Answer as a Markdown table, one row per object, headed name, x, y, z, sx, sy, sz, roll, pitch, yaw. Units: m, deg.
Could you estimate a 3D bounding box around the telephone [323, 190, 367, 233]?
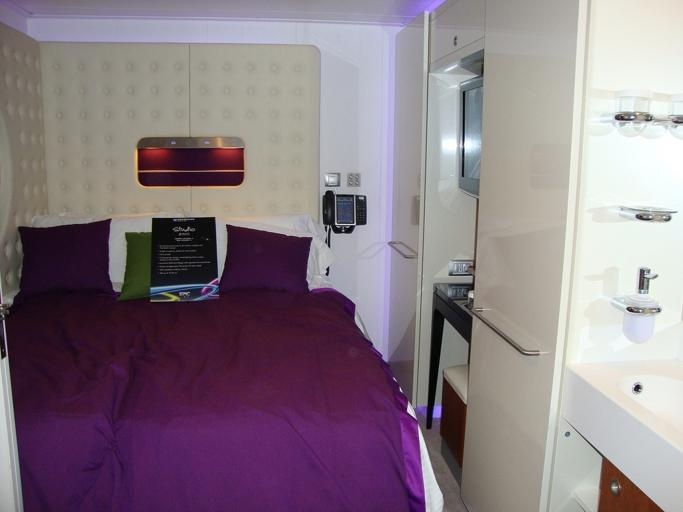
| name | x | y | z | sx | sy | sz | roll | pitch | yaw |
| --- | --- | --- | --- | --- | --- | --- | --- | --- | --- |
| telephone | 0.027 | -0.376 | 3.847 | 0.331 | 0.357 | 0.208 | 1 | 22 | 1 |
